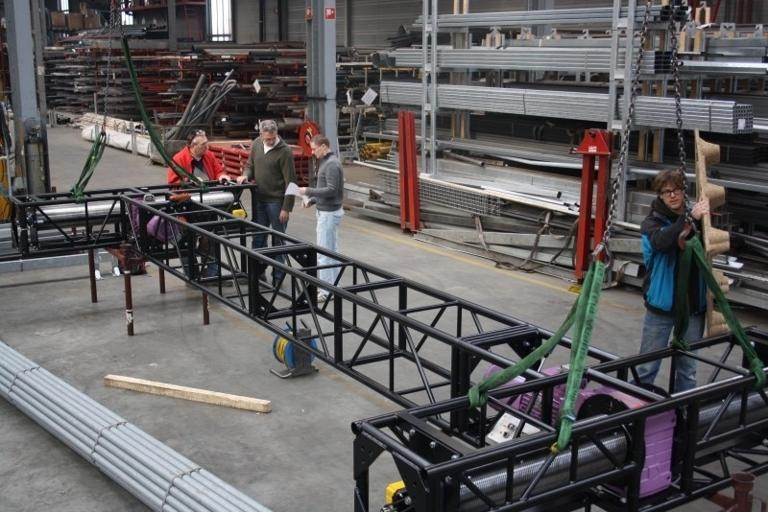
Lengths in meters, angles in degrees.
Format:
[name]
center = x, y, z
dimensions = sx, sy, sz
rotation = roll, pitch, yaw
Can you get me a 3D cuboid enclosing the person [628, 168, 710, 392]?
[person]
center = 2.771, 0.246, 6.672
dimensions = 0.639, 2.240, 1.133
rotation = 4, 17, 17
